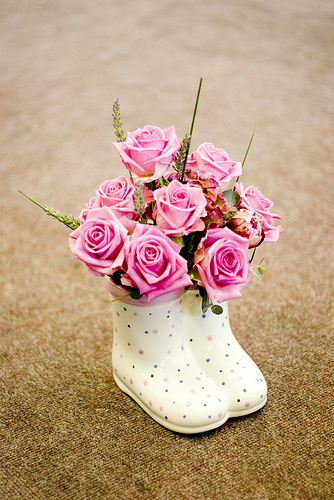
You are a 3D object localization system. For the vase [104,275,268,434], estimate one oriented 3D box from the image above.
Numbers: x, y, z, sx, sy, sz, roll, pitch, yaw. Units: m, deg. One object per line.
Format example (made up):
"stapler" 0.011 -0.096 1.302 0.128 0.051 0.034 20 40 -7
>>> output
"vase" 0.038 0.134 0.709 0.214 0.213 0.169 4 105 27

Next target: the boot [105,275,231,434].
"boot" 0.002 0.138 0.697 0.104 0.180 0.213 -17 25 -36
